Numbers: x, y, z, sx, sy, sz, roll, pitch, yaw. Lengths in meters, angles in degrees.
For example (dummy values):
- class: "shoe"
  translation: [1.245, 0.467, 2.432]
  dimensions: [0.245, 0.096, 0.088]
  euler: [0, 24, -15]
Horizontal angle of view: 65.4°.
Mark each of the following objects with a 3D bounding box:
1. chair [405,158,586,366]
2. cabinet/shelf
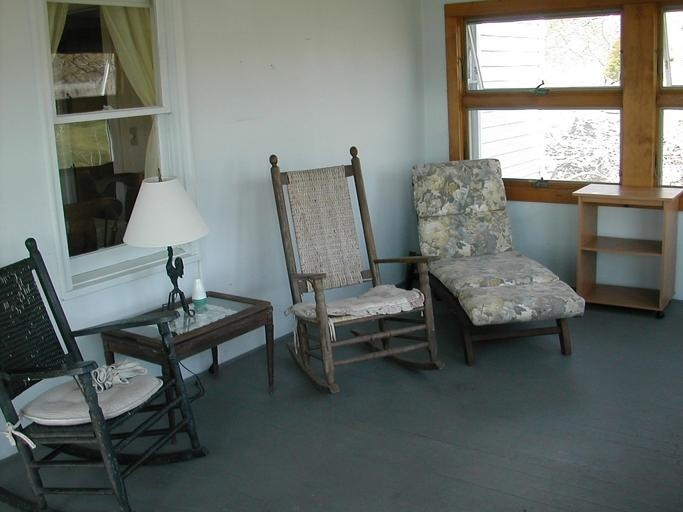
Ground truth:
- class: "chair"
  translation: [1.024, -0.004, 3.762]
  dimensions: [0.846, 1.024, 1.428]
  euler: [-6, 22, -4]
- class: "cabinet/shelf"
  translation: [2.156, -0.041, 3.948]
  dimensions: [0.921, 1.105, 0.597]
  euler: [4, 14, 32]
